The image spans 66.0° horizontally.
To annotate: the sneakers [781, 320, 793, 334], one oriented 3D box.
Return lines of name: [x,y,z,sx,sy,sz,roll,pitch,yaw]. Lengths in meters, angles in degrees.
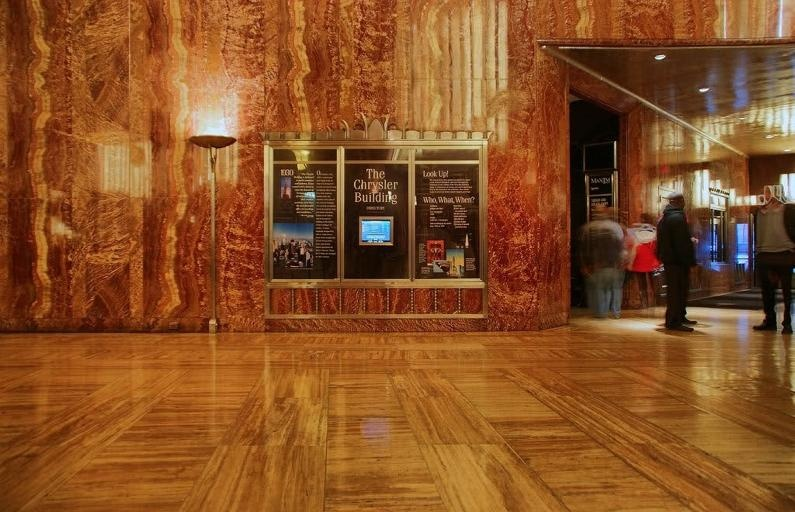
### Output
sneakers: [6.294,1.159,9.934,0.226,0.244,0.223,2,2,25]

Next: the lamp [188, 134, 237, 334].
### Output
lamp: [-2.985,-0.375,10.024,0.854,3.189,0.880,-2,-10,-3]

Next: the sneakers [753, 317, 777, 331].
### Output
sneakers: [6.076,1.115,10.173,0.343,0.219,0.159,0,13,1]

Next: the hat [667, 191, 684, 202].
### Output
hat: [4.869,-1.050,10.727,0.243,0.183,0.177,-16,18,-13]

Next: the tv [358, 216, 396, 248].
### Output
tv: [-0.367,-0.409,10.300,0.539,0.448,0.056,0,3,-2]

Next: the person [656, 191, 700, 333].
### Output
person: [4.745,0.093,10.478,0.526,2.220,1.020,1,13,7]

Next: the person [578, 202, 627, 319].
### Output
person: [3.943,0.238,11.870,0.827,1.887,0.460,4,13,16]
